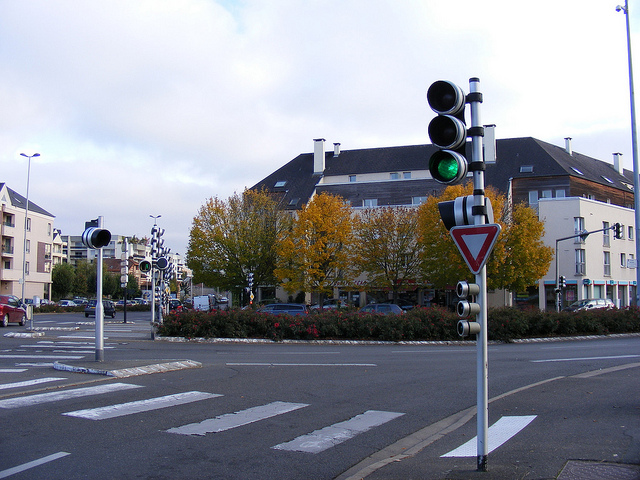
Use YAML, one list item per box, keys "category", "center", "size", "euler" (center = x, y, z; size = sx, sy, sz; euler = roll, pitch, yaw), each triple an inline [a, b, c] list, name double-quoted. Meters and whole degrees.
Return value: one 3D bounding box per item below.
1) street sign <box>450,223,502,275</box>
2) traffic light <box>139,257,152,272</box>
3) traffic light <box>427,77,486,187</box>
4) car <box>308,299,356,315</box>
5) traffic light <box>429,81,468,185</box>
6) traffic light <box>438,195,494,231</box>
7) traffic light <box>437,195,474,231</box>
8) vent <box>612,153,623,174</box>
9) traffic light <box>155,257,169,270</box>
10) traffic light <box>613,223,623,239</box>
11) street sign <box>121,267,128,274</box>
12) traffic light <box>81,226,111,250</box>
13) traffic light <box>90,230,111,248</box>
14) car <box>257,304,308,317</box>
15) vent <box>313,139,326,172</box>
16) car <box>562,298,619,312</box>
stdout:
- category: "street sign"
  center: [2.387, 0.130, 10.906]
  size: [0.795, 0.773, 0.327]
  euler: [0, 0, 25]
- category: "traffic light"
  center: [-6.844, 0.958, 27.574]
  size: [0.436, 0.656, 0.628]
  euler: [3, -11, -21]
- category: "traffic light"
  center: [2.160, -1.744, 11.194]
  size: [0.884, 1.680, 0.445]
  euler: [0, 0, 13]
- category: "car"
  center: [0.654, 3.508, 37.332]
  size: [3.067, 1.119, 1.486]
  euler: [1, -5, 9]
- category: "traffic light"
  center: [2.035, -1.712, 11.187]
  size: [0.608, 1.596, 0.422]
  euler: [0, 0, 10]
- category: "traffic light"
  center: [2.433, -0.461, 11.344]
  size: [0.612, 0.663, 0.880]
  euler: [3, -5, -45]
- category: "traffic light"
  center: [2.168, -0.487, 11.236]
  size: [0.603, 0.460, 0.501]
  euler: [1, -44, 7]
- category: "vent"
  center: [31.310, -7.984, 74.058]
  size: [0.754, 2.040, 0.800]
  euler: [0, 0, 26]
- category: "traffic light"
  center: [-6.564, 0.960, 29.368]
  size: [0.435, 0.501, 0.770]
  euler: [1, -1, -16]
- category: "traffic light"
  center: [16.575, -0.596, 39.258]
  size: [0.346, 0.814, 2.743]
  euler: [0, -1, 25]
- category: "street sign"
  center: [-7.539, 1.155, 27.118]
  size: [0.315, 0.248, 0.327]
  euler: [0, -5, -6]
- category: "traffic light"
  center: [-5.978, -0.056, 18.802]
  size: [0.744, 0.621, 0.652]
  euler: [1, -1, -4]
- category: "traffic light"
  center: [-5.775, -0.051, 18.435]
  size: [0.543, 0.570, 0.582]
  euler: [-1, 2, -38]
- category: "car"
  center: [-1.580, 3.267, 33.696]
  size: [1.748, 0.638, 0.832]
  euler: [3, -4, 2]
- category: "vent"
  center: [-0.158, -8.149, 68.050]
  size: [1.073, 3.303, 1.188]
  euler: [1, 5, 4]
- category: "car"
  center: [16.962, 4.058, 44.591]
  size: [2.343, 0.843, 1.150]
  euler: [5, -8, -25]
